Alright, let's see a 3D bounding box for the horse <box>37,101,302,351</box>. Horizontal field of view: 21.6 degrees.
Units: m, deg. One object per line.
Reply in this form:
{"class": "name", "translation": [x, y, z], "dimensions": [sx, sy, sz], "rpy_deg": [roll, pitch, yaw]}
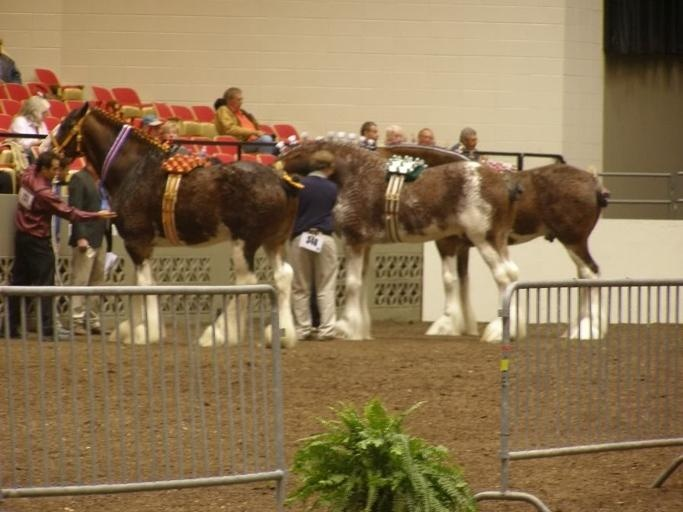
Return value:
{"class": "horse", "translation": [-2.215, -0.460, 22.788], "dimensions": [3.742, 2.822, 1.047], "rpy_deg": [7, 9, 19]}
